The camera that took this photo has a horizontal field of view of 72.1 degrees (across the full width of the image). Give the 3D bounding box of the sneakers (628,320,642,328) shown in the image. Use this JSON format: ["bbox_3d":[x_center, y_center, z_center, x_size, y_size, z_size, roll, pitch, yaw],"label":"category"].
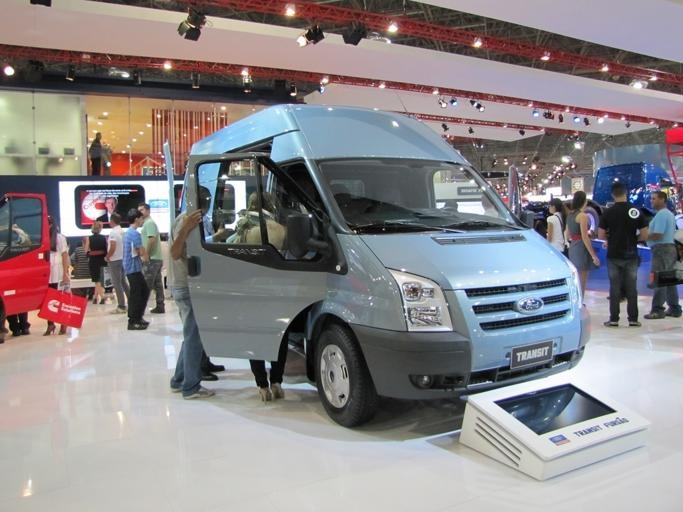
[{"bbox_3d":[4.297,0.999,6.879,0.080,0.077,0.210,-1,-6,-1],"label":"sneakers"}]

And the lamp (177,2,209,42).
[{"bbox_3d":[-3.186,-4.988,9.905,0.457,0.761,0.721,-6,7,-26],"label":"lamp"}]

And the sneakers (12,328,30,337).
[{"bbox_3d":[-5.599,1.309,8.075,0.346,0.125,0.107,-3,2,-3],"label":"sneakers"}]

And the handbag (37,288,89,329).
[{"bbox_3d":[-4.712,0.895,7.829,0.733,0.612,0.242,20,-8,-26],"label":"handbag"}]

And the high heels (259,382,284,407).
[{"bbox_3d":[-0.700,1.345,4.617,0.132,0.129,0.223,1,-4,-38],"label":"high heels"}]

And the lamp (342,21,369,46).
[{"bbox_3d":[0.214,-5.254,11.174,0.678,0.413,0.626,-12,14,-41],"label":"lamp"}]

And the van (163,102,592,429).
[{"bbox_3d":[-0.162,-0.082,4.795,3.042,1.816,3.657,-1,0,-33],"label":"van"}]

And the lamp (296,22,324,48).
[{"bbox_3d":[-0.709,-5.015,10.684,0.340,0.375,0.536,-8,8,-43],"label":"lamp"}]

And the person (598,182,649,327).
[{"bbox_3d":[4.158,-0.021,6.937,0.596,2.108,0.489,0,7,28],"label":"person"}]

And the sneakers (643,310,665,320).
[{"bbox_3d":[4.880,0.929,7.409,0.390,0.149,0.135,0,-1,5],"label":"sneakers"}]
